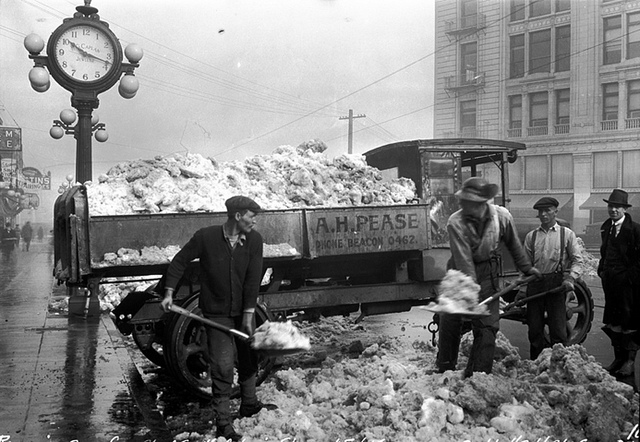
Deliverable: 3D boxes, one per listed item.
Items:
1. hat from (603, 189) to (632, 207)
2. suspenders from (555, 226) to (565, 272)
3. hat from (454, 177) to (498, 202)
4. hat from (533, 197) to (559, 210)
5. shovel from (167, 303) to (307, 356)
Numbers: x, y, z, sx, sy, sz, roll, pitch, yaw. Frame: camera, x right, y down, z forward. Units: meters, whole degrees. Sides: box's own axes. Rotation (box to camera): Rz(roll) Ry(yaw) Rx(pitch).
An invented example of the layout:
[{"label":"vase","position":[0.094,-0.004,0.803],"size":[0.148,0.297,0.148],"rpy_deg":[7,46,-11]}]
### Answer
[{"label":"hat","position":[4.650,-0.359,10.372],"size":[0.389,0.155,0.333],"rpy_deg":[14,-2,-8]},{"label":"suspenders","position":[3.591,0.421,9.847],"size":[0.059,0.662,0.104],"rpy_deg":[2,3,39]},{"label":"hat","position":[2.023,-0.396,8.429],"size":[0.397,0.152,0.321],"rpy_deg":[-12,26,-31]},{"label":"hat","position":[3.404,-0.271,9.955],"size":[0.253,0.090,0.206],"rpy_deg":[2,-7,-18]},{"label":"shovel","position":[-1.176,1.430,8.571],"size":[1.331,0.365,0.241],"rpy_deg":[26,39,-2]}]
